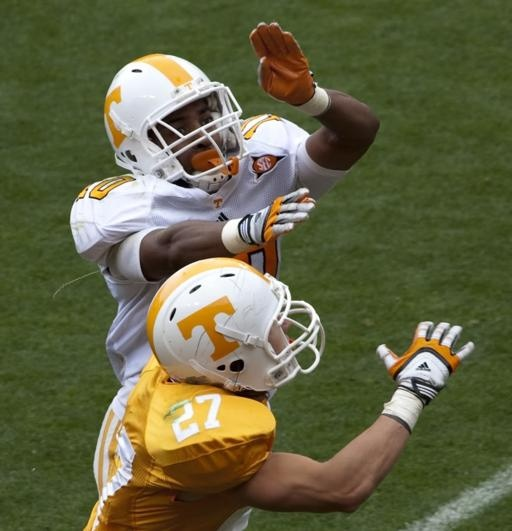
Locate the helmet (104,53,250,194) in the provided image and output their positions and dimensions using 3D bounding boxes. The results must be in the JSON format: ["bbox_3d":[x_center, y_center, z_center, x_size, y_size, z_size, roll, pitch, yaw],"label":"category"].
[{"bbox_3d":[-0.260,-0.540,4.740,0.466,0.412,0.617,-23,32,-37],"label":"helmet"}]

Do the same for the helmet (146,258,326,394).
[{"bbox_3d":[-0.089,0.195,4.176,0.670,0.319,0.403,-1,6,-3],"label":"helmet"}]

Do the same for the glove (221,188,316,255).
[{"bbox_3d":[0.058,-0.133,4.201,0.338,0.150,0.093,-20,-43,27],"label":"glove"}]

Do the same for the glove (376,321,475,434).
[{"bbox_3d":[0.529,0.351,4.320,0.395,0.127,0.358,-42,31,-26],"label":"glove"}]
